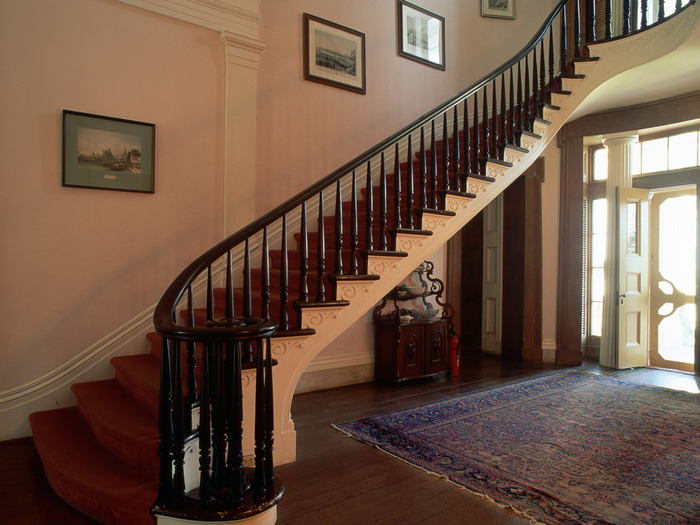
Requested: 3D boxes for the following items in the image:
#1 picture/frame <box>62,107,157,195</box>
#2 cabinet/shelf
[{"bbox_3d":[-2.374,-1.071,5.319,0.831,0.734,0.082,2,-6,-35],"label":"picture/frame"},{"bbox_3d":[0.686,0.992,6.863,1.137,0.876,0.646,-1,-2,-38],"label":"cabinet/shelf"}]
